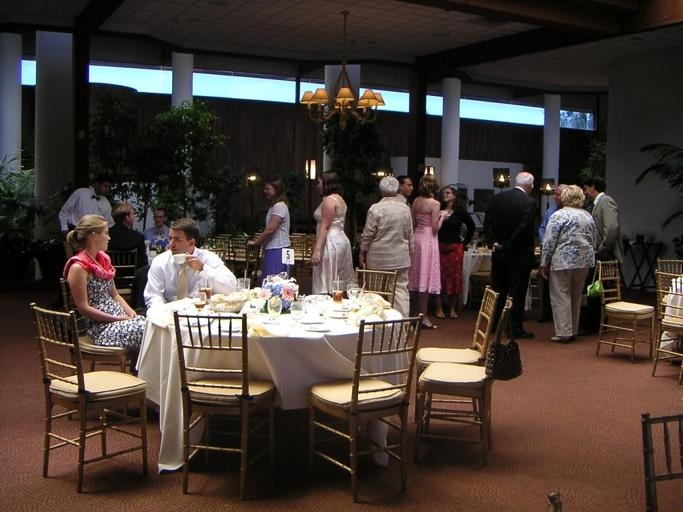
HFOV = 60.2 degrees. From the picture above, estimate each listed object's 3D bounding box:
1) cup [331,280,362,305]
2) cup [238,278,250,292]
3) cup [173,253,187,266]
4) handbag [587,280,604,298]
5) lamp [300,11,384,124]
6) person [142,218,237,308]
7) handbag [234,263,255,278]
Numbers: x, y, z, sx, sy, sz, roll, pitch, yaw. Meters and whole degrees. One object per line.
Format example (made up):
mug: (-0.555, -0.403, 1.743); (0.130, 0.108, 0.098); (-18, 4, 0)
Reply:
cup: (0.059, 0.306, 4.721); (0.275, 0.225, 0.155); (-3, 6, -29)
cup: (-0.759, 0.223, 4.582); (0.097, 0.121, 0.105); (0, -1, 0)
cup: (-1.261, 0.031, 4.597); (0.065, 0.053, 0.106); (-6, -14, 25)
handbag: (2.968, 0.389, 6.864); (0.202, 0.231, 0.121); (-3, -3, 22)
lamp: (0.043, -2.996, 9.383); (1.136, 1.926, 1.091); (3, 0, 20)
person: (-1.249, 0.092, 4.975); (0.734, 1.088, 0.679); (-5, 10, -23)
handbag: (-1.486, 0.213, 9.017); (0.185, 0.338, 0.178); (10, 10, 38)
